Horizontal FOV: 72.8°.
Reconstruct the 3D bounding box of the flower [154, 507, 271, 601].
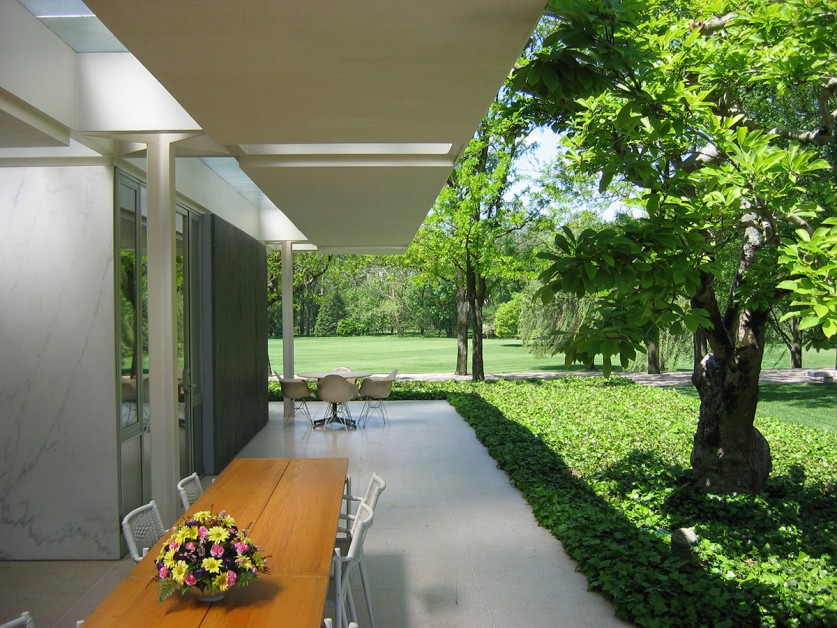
[{"bbox_3d":[-1.032,1.136,2.794,0.419,0.306,0.434,2,-3,-4],"label":"flower"}]
